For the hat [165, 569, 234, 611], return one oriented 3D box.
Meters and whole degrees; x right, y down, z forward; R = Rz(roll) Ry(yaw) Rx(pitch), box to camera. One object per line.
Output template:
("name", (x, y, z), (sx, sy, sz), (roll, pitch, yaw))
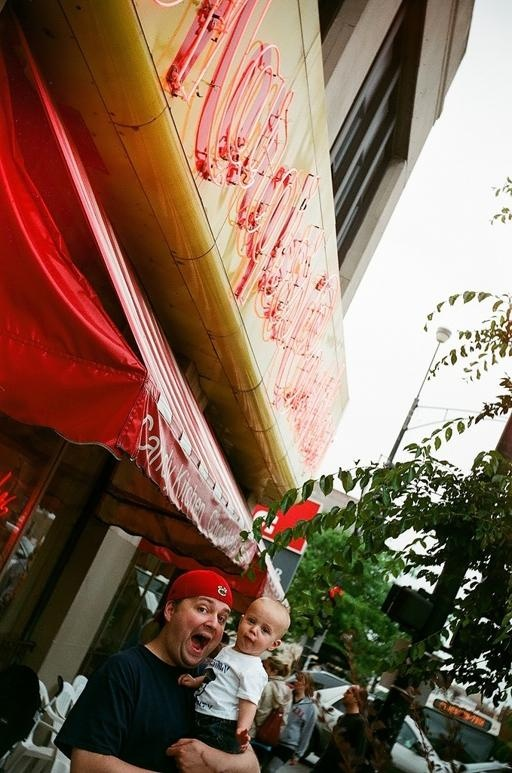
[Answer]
("hat", (-0.145, 0.552, 1.612), (0.136, 0.084, 0.138), (11, -31, -3))
